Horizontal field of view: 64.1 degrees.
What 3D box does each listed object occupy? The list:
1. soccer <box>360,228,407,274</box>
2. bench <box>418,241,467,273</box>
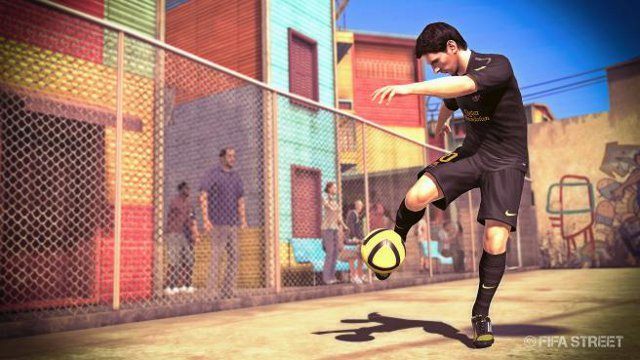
[{"bbox_3d":[0.795,0.877,6.421,0.568,0.556,0.476,0,-1,-3],"label":"soccer"},{"bbox_3d":[3.628,2.279,15.201,0.848,0.998,1.521,-4,4,-41],"label":"bench"}]
